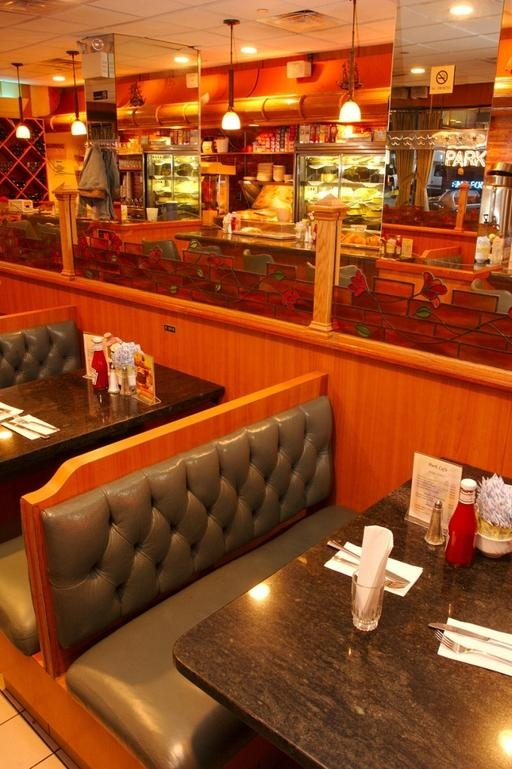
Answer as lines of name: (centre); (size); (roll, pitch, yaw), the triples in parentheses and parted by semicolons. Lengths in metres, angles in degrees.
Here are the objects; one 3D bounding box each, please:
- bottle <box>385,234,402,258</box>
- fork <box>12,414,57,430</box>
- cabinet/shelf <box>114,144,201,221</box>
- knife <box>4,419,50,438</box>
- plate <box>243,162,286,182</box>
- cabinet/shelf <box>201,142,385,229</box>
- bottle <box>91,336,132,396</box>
bottle: (1.003, -1.007, 4.020); (0.131, 0.151, 0.037); (8, 15, 27)
fork: (-0.915, 0.155, 2.227); (0.230, 0.011, 0.076); (17, 29, 37)
cabinet/shelf: (-1.361, -2.796, 7.606); (1.240, 0.937, 0.305); (5, 14, 16)
knife: (-0.908, 0.177, 2.160); (0.209, 0.012, 0.076); (12, 23, 37)
plate: (0.174, -3.210, 8.457); (0.348, 0.222, 0.602); (-5, 17, -17)
cabinet/shelf: (0.490, -2.879, 7.796); (0.935, 1.356, 3.486); (-9, 17, -37)
bottle: (-0.685, -0.077, 2.579); (0.182, 0.320, 0.173); (5, 25, -2)
